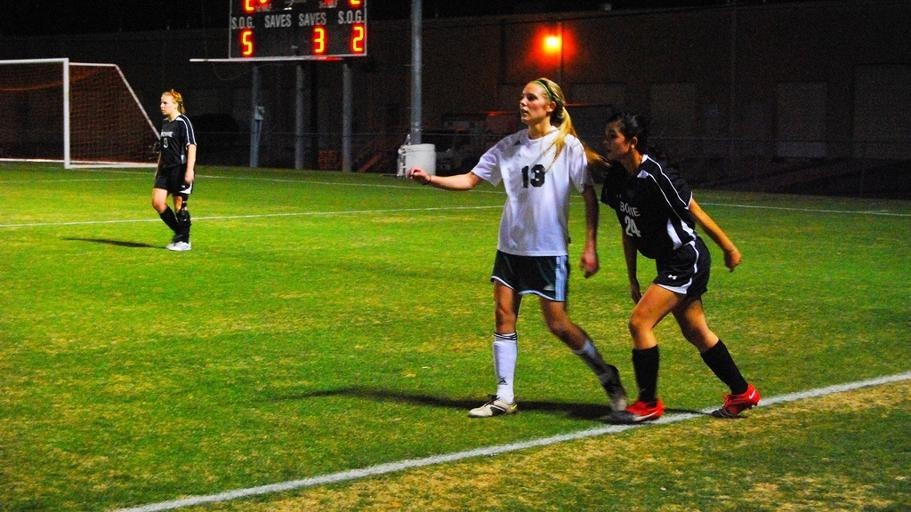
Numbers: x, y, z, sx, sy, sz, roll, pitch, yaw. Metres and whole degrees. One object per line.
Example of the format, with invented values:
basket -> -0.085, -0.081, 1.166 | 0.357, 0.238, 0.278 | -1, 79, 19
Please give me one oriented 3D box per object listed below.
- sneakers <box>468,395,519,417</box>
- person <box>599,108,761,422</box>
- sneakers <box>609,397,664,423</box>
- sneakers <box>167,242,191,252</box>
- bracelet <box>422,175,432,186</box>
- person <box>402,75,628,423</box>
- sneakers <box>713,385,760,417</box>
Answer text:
sneakers -> 0.299, 1.253, 5.765 | 0.392, 0.118, 0.165 | 1, -6, -12
person -> 1.726, 0.119, 5.541 | 1.168, 2.452, 0.480 | -1, 14, -9
sneakers -> 1.474, 1.270, 5.672 | 0.497, 0.148, 0.158 | -1, -1, -11
sneakers -> -4.938, -0.163, 12.410 | 0.339, 0.099, 0.165 | 4, -3, -14
bracelet -> -0.248, -0.630, 5.664 | 0.074, 0.043, 0.071 | 0, -4, -40
person -> 0.643, -0.054, 5.692 | 1.590, 2.730, 0.728 | 2, 14, 3
sneakers -> 2.321, 1.226, 5.750 | 0.400, 0.187, 0.151 | -39, -26, 28
